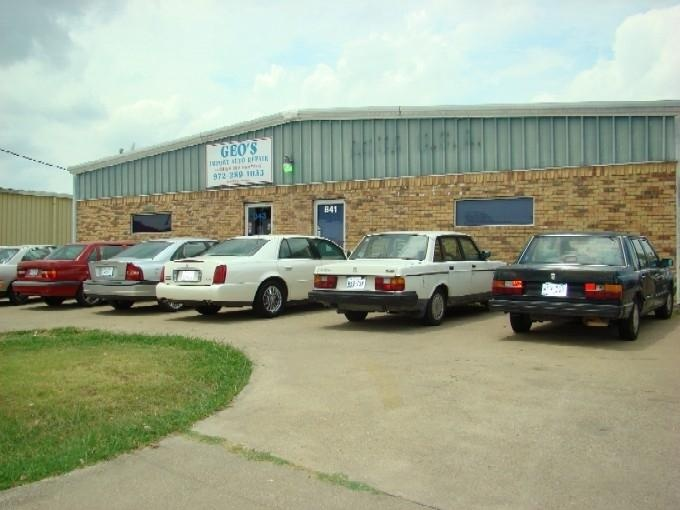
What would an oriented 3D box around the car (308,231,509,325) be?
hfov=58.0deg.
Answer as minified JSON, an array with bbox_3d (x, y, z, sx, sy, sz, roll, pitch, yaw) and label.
[{"bbox_3d":[1.295,0.388,11.491,3.455,1.652,1.775,-4,7,-38],"label":"car"}]

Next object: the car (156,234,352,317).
[{"bbox_3d":[-1.552,0.210,12.716,1.457,1.069,3.372,1,4,32],"label":"car"}]

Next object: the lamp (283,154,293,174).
[{"bbox_3d":[-1.586,-2.769,18.646,0.376,0.589,0.179,5,8,40],"label":"lamp"}]

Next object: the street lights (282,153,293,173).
[{"bbox_3d":[-1.612,-2.806,18.633,0.401,0.682,0.496,1,2,-3],"label":"street lights"}]

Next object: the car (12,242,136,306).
[{"bbox_3d":[-6.427,0.383,15.070,1.262,1.021,2.857,0,3,30],"label":"car"}]

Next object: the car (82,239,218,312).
[{"bbox_3d":[-4.143,0.425,13.839,1.373,1.044,3.177,0,3,30],"label":"car"}]

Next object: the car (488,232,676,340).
[{"bbox_3d":[4.222,0.445,10.156,3.369,1.658,1.859,-5,8,-39],"label":"car"}]
